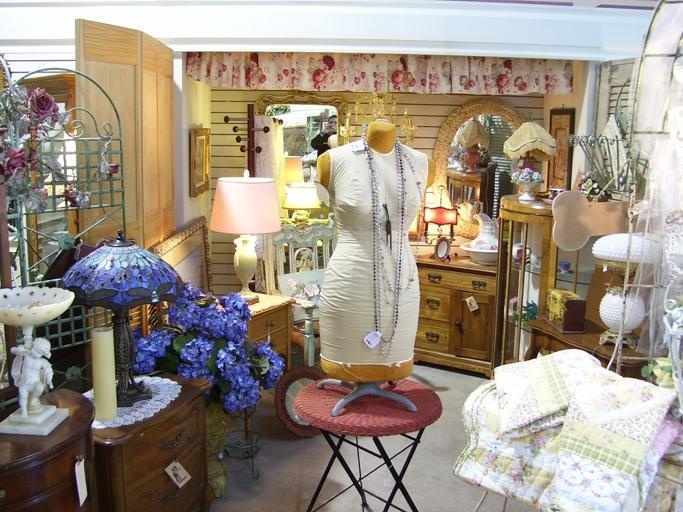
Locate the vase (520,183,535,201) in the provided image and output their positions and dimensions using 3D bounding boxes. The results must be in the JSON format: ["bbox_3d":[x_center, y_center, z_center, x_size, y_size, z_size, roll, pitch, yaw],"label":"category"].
[{"bbox_3d":[1.554,-0.536,4.128,0.147,0.144,0.140,-2,8,-10],"label":"vase"}]

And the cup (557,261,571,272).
[{"bbox_3d":[1.736,0.081,3.821,0.078,0.059,0.079,4,6,0],"label":"cup"}]

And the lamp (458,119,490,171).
[{"bbox_3d":[1.384,-1.166,5.122,0.305,0.522,0.149,0,10,12],"label":"lamp"}]

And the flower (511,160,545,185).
[{"bbox_3d":[1.580,-0.716,4.196,0.221,0.207,0.284,0,10,15],"label":"flower"}]

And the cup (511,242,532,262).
[{"bbox_3d":[1.483,-0.029,4.079,0.155,0.147,0.097,8,14,33],"label":"cup"}]

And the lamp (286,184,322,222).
[{"bbox_3d":[-0.382,-0.586,5.189,0.393,0.398,0.385,-6,14,-22],"label":"lamp"}]

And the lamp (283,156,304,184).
[{"bbox_3d":[-0.483,-0.959,5.483,0.299,0.367,0.295,0,13,0],"label":"lamp"}]

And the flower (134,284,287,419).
[{"bbox_3d":[-0.853,0.573,3.108,0.906,0.730,0.766,12,-32,-37],"label":"flower"}]

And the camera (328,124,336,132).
[{"bbox_3d":[-0.092,-1.378,5.300,0.056,0.073,0.063,-1,6,3],"label":"camera"}]

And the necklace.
[{"bbox_3d":[0.258,-0.055,2.394,0.287,1.025,0.413,-1,10,8],"label":"necklace"}]

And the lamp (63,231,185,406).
[{"bbox_3d":[-0.987,0.306,2.275,0.415,0.824,0.360,2,11,22],"label":"lamp"}]

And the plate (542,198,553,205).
[{"bbox_3d":[1.673,-0.438,3.977,0.077,0.019,0.080,-7,19,-20],"label":"plate"}]
